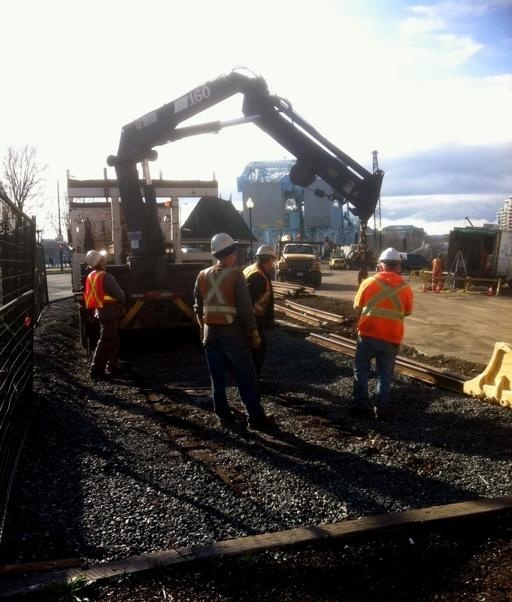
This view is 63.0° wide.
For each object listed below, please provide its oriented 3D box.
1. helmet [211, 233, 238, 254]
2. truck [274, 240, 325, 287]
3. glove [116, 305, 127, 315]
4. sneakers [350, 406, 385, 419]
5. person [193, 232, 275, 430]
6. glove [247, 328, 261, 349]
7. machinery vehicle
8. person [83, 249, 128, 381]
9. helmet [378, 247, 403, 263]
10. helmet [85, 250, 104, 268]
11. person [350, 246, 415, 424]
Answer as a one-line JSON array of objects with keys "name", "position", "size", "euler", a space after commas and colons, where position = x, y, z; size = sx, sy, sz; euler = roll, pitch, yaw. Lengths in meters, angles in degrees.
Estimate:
[{"name": "helmet", "position": [-0.338, -0.591, 4.418], "size": [0.195, 0.149, 0.261], "euler": [-2, 23, 42]}, {"name": "truck", "position": [2.333, -2.064, 24.101], "size": [1.842, 1.778, 3.259], "euler": [0, -1, -2]}, {"name": "glove", "position": [-2.120, 0.154, 6.514], "size": [0.124, 0.146, 0.159], "euler": [6, 8, 0]}, {"name": "sneakers", "position": [1.254, 1.251, 4.685], "size": [0.275, 0.069, 0.147], "euler": [2, 1, -24]}, {"name": "person", "position": [-0.274, 0.309, 4.488], "size": [0.587, 2.014, 0.684], "euler": [-1, 2, -35]}, {"name": "glove", "position": [-0.011, 0.410, 4.492], "size": [0.160, 0.200, 0.217], "euler": [1, 2, 5]}, {"name": "machinery vehicle", "position": [-0.553, -2.005, 8.776], "size": [6.112, 5.041, 2.163], "euler": [-2, 10, 5]}, {"name": "person", "position": [-2.314, 0.218, 6.428], "size": [0.658, 1.912, 0.536], "euler": [0, 2, -6]}, {"name": "helmet", "position": [1.545, -0.517, 4.830], "size": [0.187, 0.129, 0.258], "euler": [2, -4, 11]}, {"name": "helmet", "position": [-2.482, -0.616, 6.408], "size": [0.266, 0.245, 0.193], "euler": [0, 2, -4]}, {"name": "person", "position": [1.468, 0.333, 4.854], "size": [0.676, 1.871, 0.665], "euler": [1, 2, 16]}]
